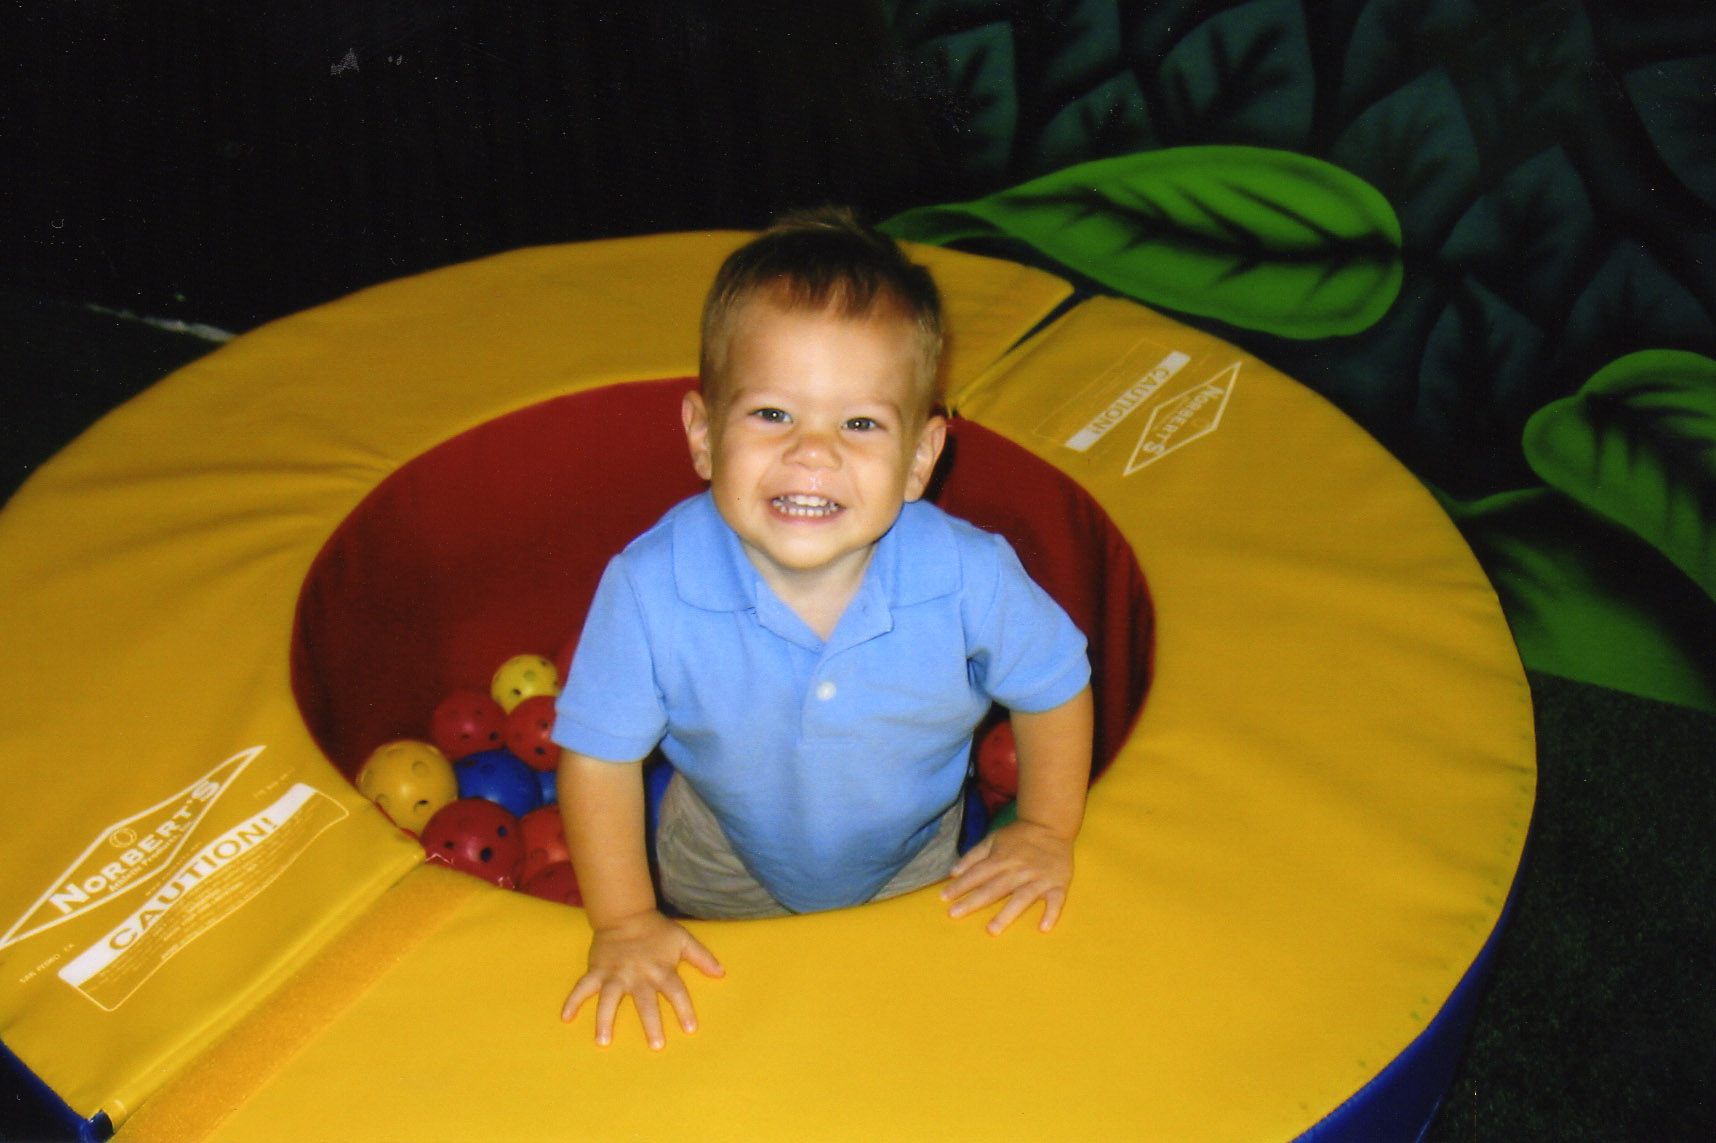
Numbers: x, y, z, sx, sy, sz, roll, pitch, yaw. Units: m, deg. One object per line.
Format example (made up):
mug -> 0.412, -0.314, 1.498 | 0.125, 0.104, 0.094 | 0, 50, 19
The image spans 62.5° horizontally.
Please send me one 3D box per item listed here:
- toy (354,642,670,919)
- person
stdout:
toy -> -0.644, 0.369, 2.646 | 0.437, 0.433, 0.122 | 29, 69, -22
person -> -0.073, 0.179, 2.112 | 0.827, 1.120, 0.816 | -12, 42, -14
